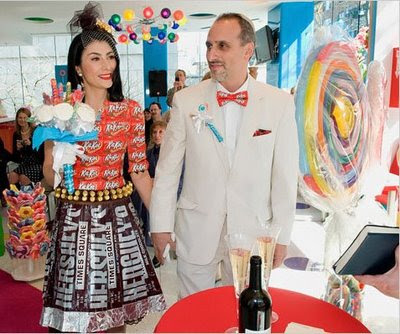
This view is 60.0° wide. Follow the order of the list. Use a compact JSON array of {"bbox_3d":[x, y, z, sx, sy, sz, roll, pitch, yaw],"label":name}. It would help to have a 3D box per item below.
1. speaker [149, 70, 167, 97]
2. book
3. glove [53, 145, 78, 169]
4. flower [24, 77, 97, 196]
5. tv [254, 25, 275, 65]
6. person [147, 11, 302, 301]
[{"bbox_3d":[-1.240,-2.432,9.873,0.542,0.801,0.440,-7,36,-14],"label":"speaker"},{"bbox_3d":[0.667,0.306,1.414,0.225,0.230,0.059,-2,44,-17],"label":"book"},{"bbox_3d":[-0.742,-0.048,1.891,0.126,0.138,0.054,4,-2,-9],"label":"glove"},{"bbox_3d":[-0.773,-0.175,1.957,0.297,0.581,0.355,27,30,37],"label":"flower"},{"bbox_3d":[1.364,-2.649,7.621,0.208,0.684,0.756,-10,12,-15],"label":"tv"},{"bbox_3d":[0.141,-0.038,1.984,0.802,1.622,0.512,3,14,16],"label":"person"}]
